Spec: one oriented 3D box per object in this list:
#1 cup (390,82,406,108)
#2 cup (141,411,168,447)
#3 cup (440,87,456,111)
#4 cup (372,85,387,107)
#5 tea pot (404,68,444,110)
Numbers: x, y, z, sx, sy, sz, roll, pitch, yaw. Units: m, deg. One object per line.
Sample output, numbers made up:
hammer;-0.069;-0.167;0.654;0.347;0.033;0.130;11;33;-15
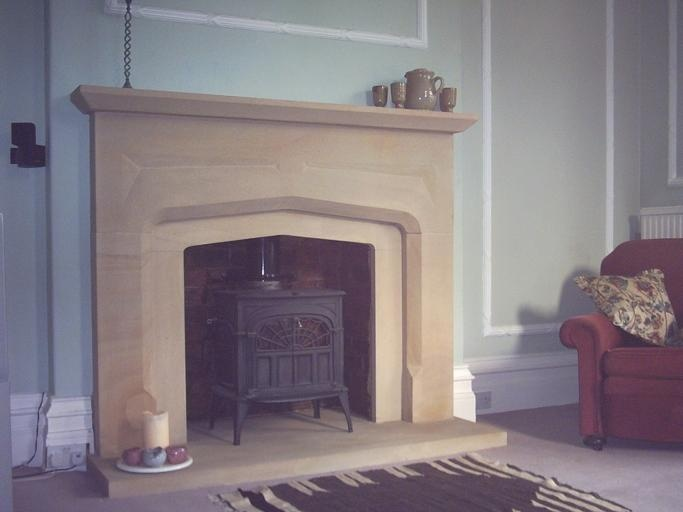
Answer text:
cup;0.301;-0.868;3.514;0.084;0.142;0.064;2;8;3
cup;-0.854;0.782;3.016;0.113;0.160;0.225;-1;8;-17
cup;0.578;-0.854;3.576;0.114;0.133;0.118;1;9;0
cup;0.200;-0.848;3.521;0.103;0.118;0.104;1;1;0
tea pot;0.435;-0.903;3.611;0.251;0.234;0.200;1;1;6
